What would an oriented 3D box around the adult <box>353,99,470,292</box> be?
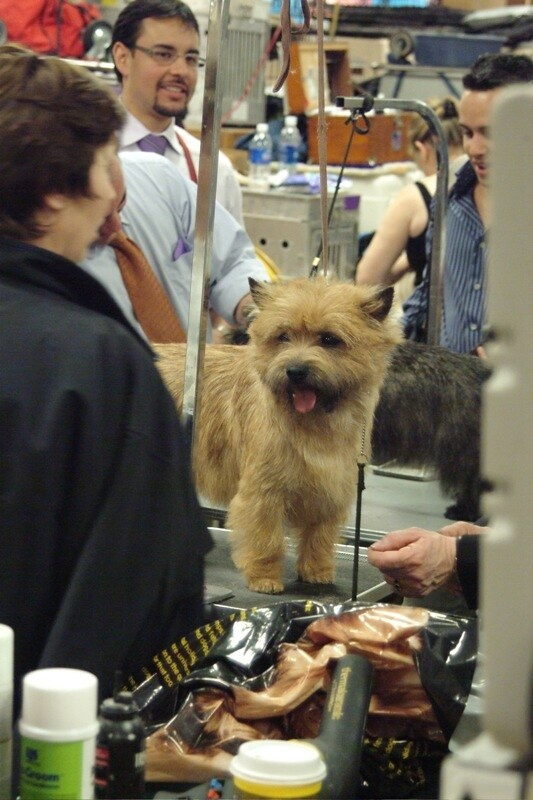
[{"bbox_3d":[0.782,-1.224,5.118,0.729,1.252,0.953,4,29,19],"label":"adult"}]
